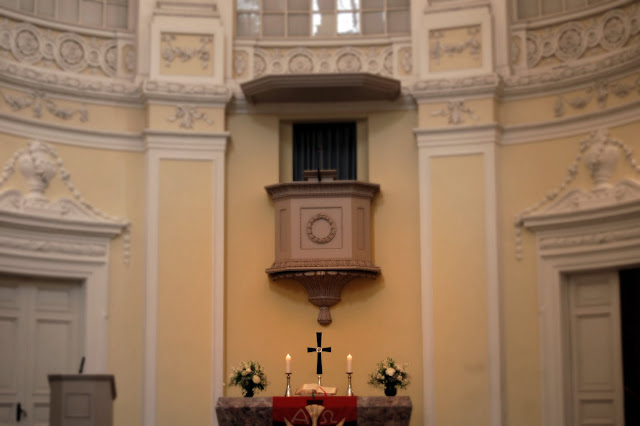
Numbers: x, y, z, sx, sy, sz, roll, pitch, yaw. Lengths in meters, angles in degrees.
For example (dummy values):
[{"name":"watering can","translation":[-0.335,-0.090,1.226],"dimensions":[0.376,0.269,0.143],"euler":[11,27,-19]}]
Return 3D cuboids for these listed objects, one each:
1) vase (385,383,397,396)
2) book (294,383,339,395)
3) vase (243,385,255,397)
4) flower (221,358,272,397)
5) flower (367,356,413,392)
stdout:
[{"name":"vase","translation":[1.063,2.689,16.796],"dimensions":[0.158,0.192,0.163],"euler":[-5,-20,20]},{"name":"book","translation":[-0.069,2.617,16.362],"dimensions":[0.597,0.208,0.617],"euler":[2,-13,-14]},{"name":"vase","translation":[-1.095,2.734,16.891],"dimensions":[0.149,0.171,0.158],"euler":[14,-35,-31]},{"name":"flower","translation":[-1.092,2.569,17.118],"dimensions":[0.584,0.581,0.584],"euler":[-7,-11,36]},{"name":"flower","translation":[1.046,2.533,17.006],"dimensions":[0.574,0.517,0.587],"euler":[-11,-18,31]}]
